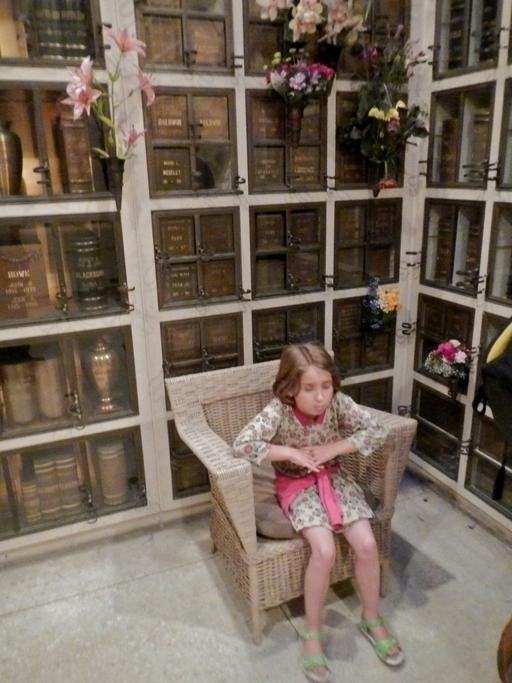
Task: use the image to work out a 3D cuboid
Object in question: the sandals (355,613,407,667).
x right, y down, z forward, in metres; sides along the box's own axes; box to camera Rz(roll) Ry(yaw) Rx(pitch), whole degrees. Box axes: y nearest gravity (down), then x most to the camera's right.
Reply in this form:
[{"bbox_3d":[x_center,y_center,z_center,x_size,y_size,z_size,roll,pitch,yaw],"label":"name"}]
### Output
[{"bbox_3d":[0.263,0.631,1.070,0.038,0.048,0.112,-10,3,-14],"label":"sandals"}]
